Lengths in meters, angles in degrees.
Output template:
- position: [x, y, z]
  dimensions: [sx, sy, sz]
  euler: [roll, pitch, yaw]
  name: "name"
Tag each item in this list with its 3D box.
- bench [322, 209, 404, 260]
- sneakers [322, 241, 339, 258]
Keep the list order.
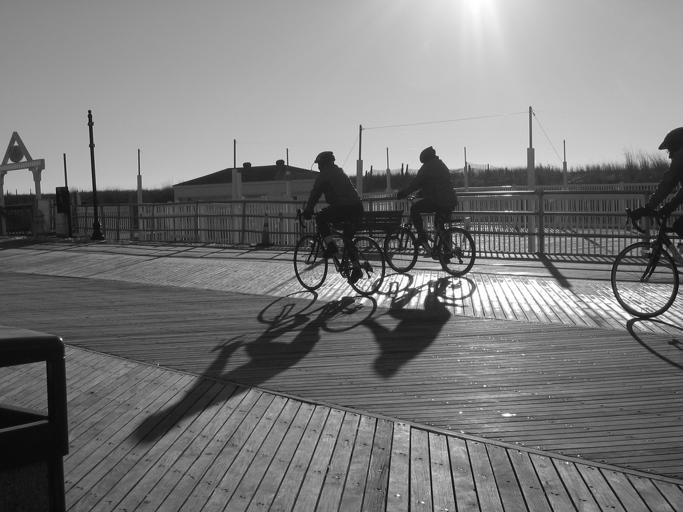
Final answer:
- position: [0.694, -0.376, 10.759]
  dimensions: [1.141, 0.590, 0.399]
  euler: [-3, 14, -13]
  name: "bench"
- position: [-0.160, -0.113, 9.682]
  dimensions: [0.250, 0.283, 0.212]
  euler: [-2, 5, -8]
  name: "sneakers"
